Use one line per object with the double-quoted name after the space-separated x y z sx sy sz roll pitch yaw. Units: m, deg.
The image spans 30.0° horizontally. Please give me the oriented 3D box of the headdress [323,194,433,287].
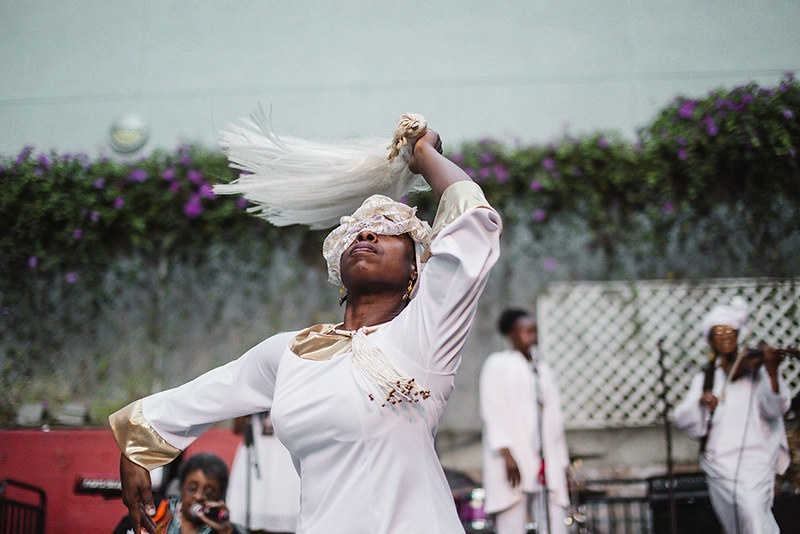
-0.125 -0.274 9.433 0.628 0.551 0.306 -39 -34 -26 "headdress"
